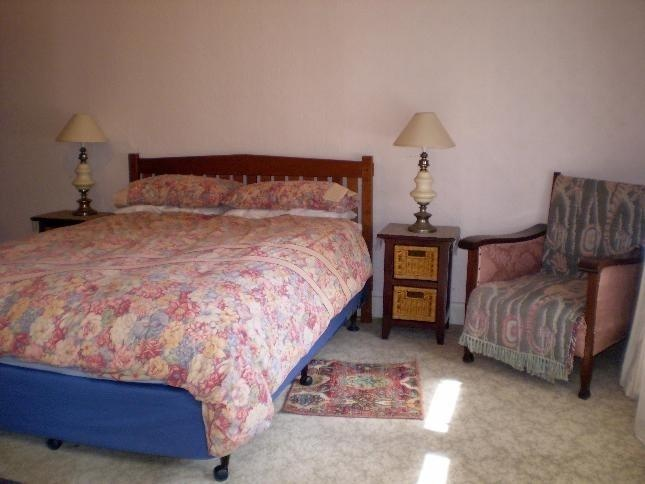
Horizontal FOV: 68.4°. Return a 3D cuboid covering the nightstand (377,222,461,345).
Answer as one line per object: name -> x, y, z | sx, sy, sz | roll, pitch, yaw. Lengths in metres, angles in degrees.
nightstand -> 0.718, 0.375, 3.720 | 0.635, 0.790, 0.579 | 5, -7, -1

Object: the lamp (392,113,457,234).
lamp -> 0.766, -0.536, 3.648 | 0.427, 0.893, 0.454 | 3, 12, 13
